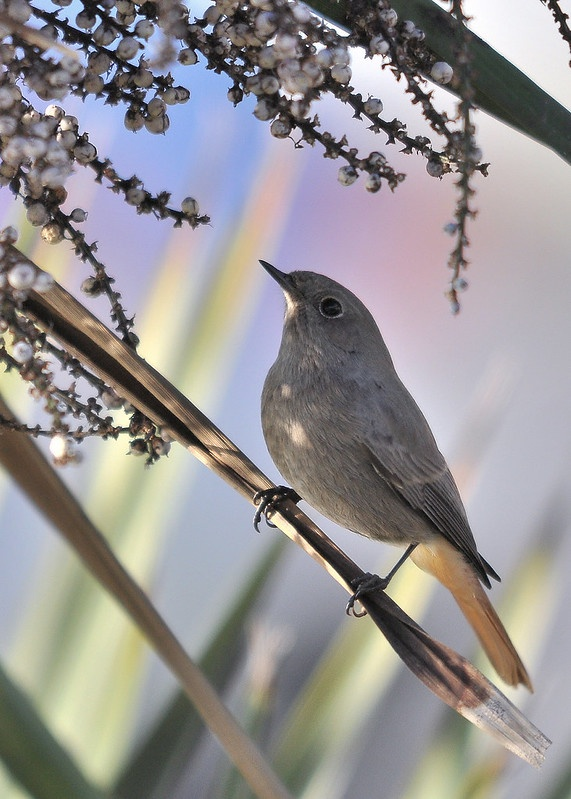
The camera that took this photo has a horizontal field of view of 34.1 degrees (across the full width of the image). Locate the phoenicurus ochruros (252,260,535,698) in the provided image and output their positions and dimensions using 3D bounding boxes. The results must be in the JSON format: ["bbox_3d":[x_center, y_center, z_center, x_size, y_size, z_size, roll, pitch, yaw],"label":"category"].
[{"bbox_3d":[0.232,0.181,2.024,0.867,0.741,0.341,16,-8,-23],"label":"phoenicurus ochruros"}]
